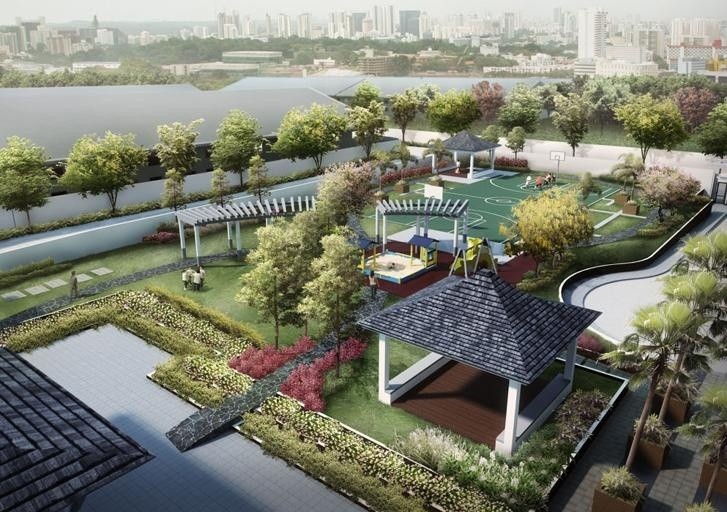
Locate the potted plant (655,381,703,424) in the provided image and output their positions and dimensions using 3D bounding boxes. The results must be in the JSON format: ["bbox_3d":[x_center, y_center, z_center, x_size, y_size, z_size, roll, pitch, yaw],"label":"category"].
[{"bbox_3d":[15.779,7.611,27.118,2.438,1.596,2.327,15,-22,-42],"label":"potted plant"}]

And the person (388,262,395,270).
[{"bbox_3d":[2.367,0.844,43.063,0.527,0.752,0.479,5,57,0],"label":"person"}]
